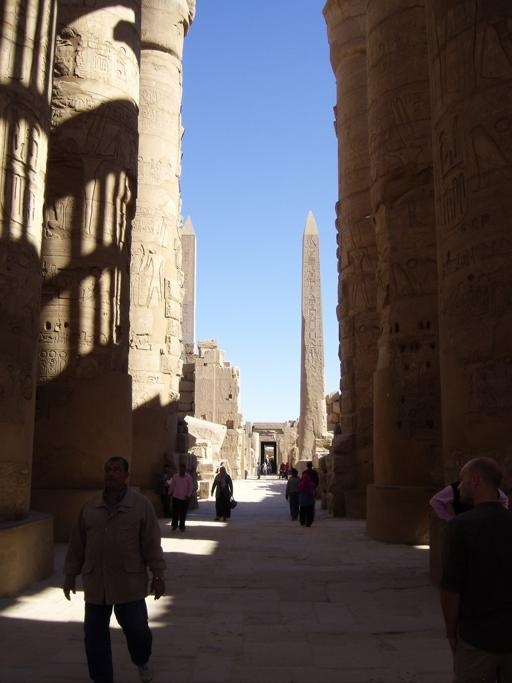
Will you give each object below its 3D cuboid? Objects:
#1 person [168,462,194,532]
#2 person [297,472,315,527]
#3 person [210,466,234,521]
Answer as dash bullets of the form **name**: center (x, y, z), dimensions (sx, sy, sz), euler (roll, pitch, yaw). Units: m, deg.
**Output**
- **person**: center (-1.189, 2.461, 10.787), dimensions (0.322, 1.014, 0.654), euler (1, -7, -7)
- **person**: center (0.862, 2.662, 11.500), dimensions (0.251, 0.862, 0.551), euler (0, -7, 4)
- **person**: center (-0.629, 2.801, 12.631), dimensions (0.403, 0.971, 1.115), euler (1, -8, -3)
